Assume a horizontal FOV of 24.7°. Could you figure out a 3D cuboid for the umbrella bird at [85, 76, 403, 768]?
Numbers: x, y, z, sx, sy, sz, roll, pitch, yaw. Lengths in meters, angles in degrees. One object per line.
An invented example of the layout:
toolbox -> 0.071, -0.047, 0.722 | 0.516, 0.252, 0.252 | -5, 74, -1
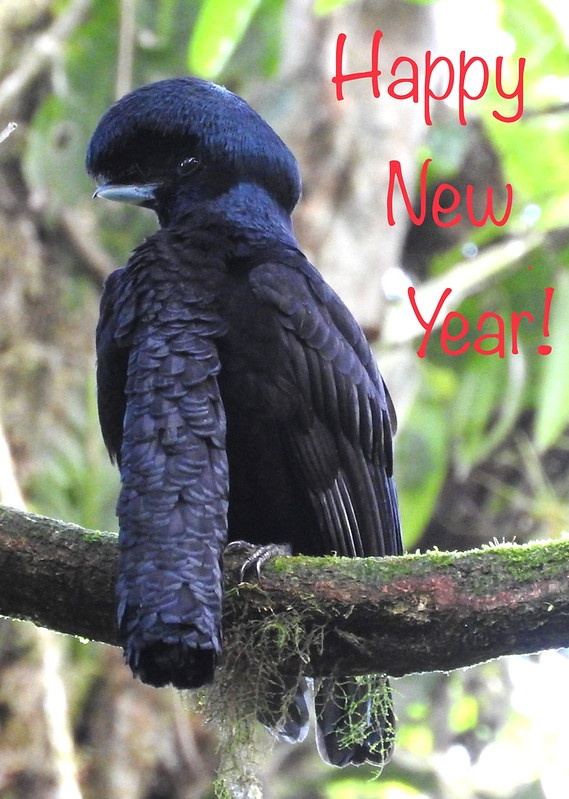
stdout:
umbrella bird -> -0.275, -0.169, 4.305 | 0.728, 1.687, 1.289 | -12, -5, 28
